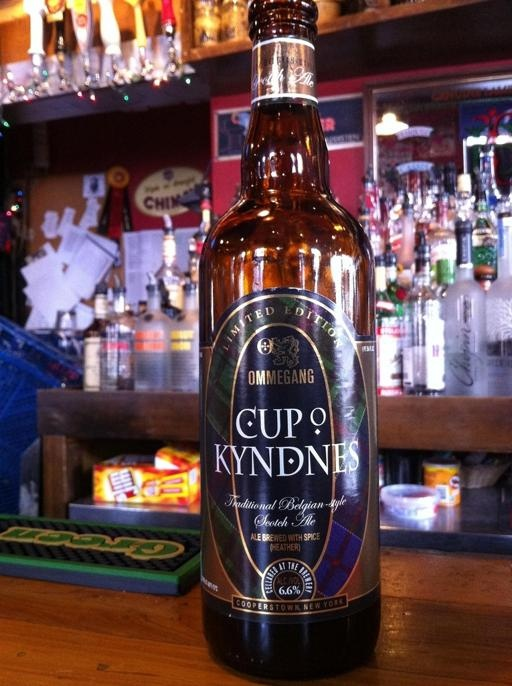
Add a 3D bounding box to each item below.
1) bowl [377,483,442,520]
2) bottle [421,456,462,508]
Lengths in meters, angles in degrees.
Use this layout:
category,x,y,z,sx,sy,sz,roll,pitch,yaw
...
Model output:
category,x,y,z,sx,sy,sz,roll,pitch,yaw
bowl,0.227,0.230,1.084,0.081,0.031,0.163,1,2,11
bottle,0.292,0.217,1.144,0.060,0.068,0.060,2,-1,-12
